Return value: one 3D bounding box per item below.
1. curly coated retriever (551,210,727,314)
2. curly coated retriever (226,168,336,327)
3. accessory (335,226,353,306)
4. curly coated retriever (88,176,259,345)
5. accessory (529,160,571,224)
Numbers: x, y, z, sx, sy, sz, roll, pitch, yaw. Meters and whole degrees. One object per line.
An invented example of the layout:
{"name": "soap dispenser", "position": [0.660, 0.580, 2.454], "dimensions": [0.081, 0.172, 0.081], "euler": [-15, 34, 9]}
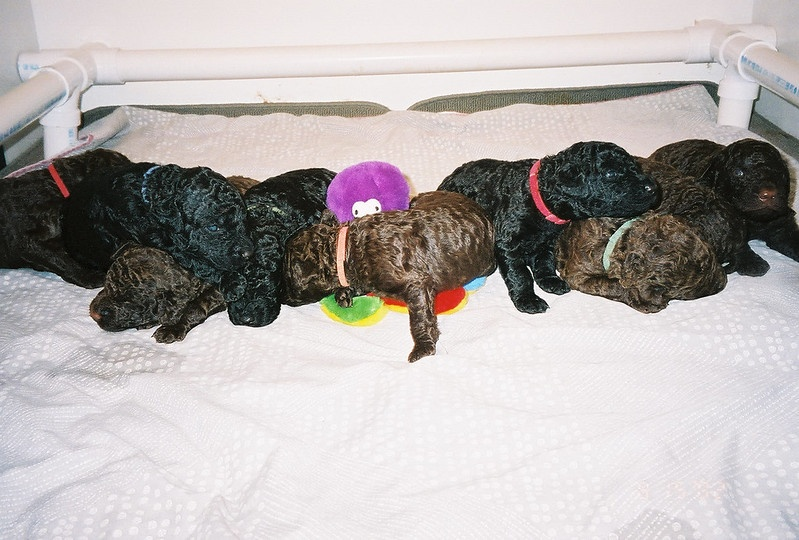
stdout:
{"name": "curly coated retriever", "position": [0.637, -0.021, 1.701], "dimensions": [0.270, 0.185, 0.376], "euler": [-33, 36, -30]}
{"name": "curly coated retriever", "position": [-0.342, -0.065, 1.741], "dimensions": [0.258, 0.415, 0.169], "euler": [10, -9, -30]}
{"name": "accessory", "position": [-0.151, -0.007, 1.633], "dimensions": [0.061, 0.178, 0.072], "euler": [-3, 6, -25]}
{"name": "curly coated retriever", "position": [-0.557, 0.015, 1.566], "dimensions": [0.480, 0.170, 0.349], "euler": [-15, 68, 5]}
{"name": "accessory", "position": [0.376, -0.196, 1.690], "dimensions": [0.041, 0.155, 0.156], "euler": [-43, 26, 21]}
